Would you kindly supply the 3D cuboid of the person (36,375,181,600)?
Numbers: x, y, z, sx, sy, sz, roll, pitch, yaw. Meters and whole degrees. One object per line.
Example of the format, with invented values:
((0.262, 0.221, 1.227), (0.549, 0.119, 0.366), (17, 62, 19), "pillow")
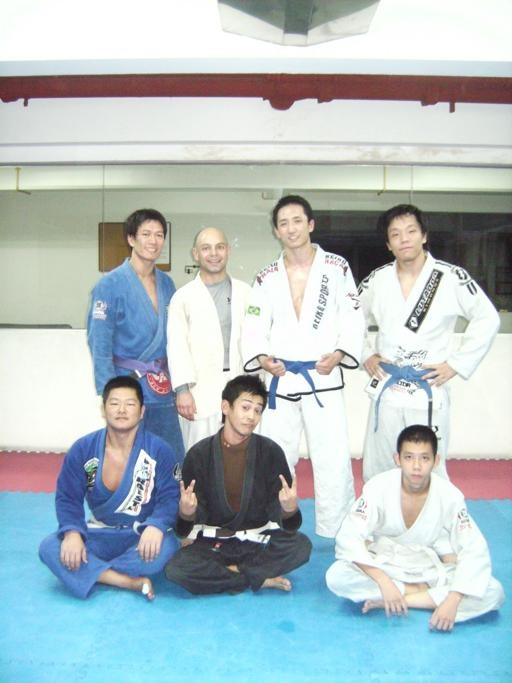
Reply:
((-0.535, 0.525, 2.348), (0.506, 0.769, 0.417), (1, 6, -8), "person")

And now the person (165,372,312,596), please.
((-0.043, 0.514, 2.298), (0.491, 0.761, 0.304), (2, 6, 4), "person")
